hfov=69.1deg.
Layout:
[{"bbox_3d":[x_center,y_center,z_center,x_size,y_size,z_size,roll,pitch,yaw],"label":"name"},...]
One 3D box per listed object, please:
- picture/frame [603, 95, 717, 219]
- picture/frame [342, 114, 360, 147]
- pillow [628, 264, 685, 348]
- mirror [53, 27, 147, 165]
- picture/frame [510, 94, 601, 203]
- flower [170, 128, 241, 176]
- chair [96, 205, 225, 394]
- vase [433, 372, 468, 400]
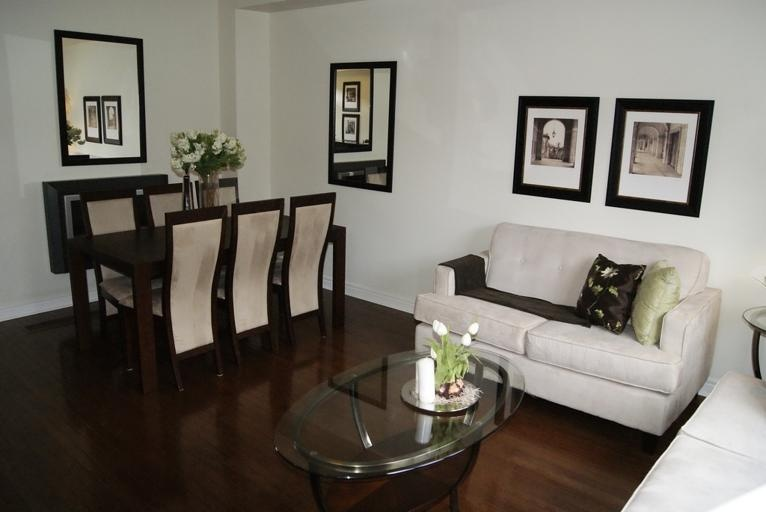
[{"bbox_3d":[2.300,-0.824,4.547,0.867,1.119,0.075,12,17,40],"label":"picture/frame"},{"bbox_3d":[-0.355,-1.386,6.090,0.267,0.388,0.028,14,22,34],"label":"picture/frame"},{"bbox_3d":[2.016,0.395,4.103,0.257,0.552,0.422,1,20,-29],"label":"pillow"},{"bbox_3d":[-2.945,-1.642,5.869,0.895,1.350,0.055,0,8,-1],"label":"mirror"},{"bbox_3d":[1.574,-0.979,4.977,0.854,1.058,0.068,10,11,38],"label":"picture/frame"},{"bbox_3d":[-1.623,-0.933,5.149,0.466,0.328,0.520,2,5,13],"label":"flower"},{"bbox_3d":[-1.546,0.333,4.438,0.618,1.440,0.297,-6,17,-25],"label":"chair"},{"bbox_3d":[0.409,0.805,3.393,0.140,0.063,0.126,-6,7,41],"label":"vase"}]
